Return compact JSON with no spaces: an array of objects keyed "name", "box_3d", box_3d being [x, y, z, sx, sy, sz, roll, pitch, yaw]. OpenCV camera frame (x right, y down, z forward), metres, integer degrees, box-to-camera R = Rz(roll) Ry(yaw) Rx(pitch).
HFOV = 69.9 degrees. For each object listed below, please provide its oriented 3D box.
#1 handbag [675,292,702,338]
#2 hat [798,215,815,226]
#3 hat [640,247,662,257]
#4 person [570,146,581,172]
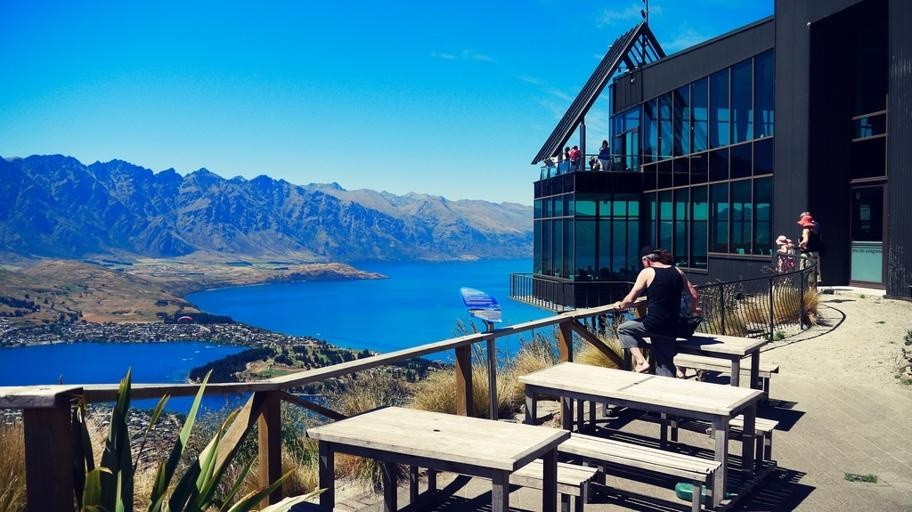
[{"name":"handbag","box_3d":[4.200,1.037,11.330,0.781,0.734,0.547,0,3,18]},{"name":"hat","box_3d":[10.674,-1.109,19.810,0.446,0.261,0.350,-28,18,-26]},{"name":"hat","box_3d":[3.405,-0.077,11.406,0.238,0.096,0.238,-5,0,34]},{"name":"person","box_3d":[5.400,-4.394,29.477,0.458,1.129,0.653,-2,1,-1]}]
